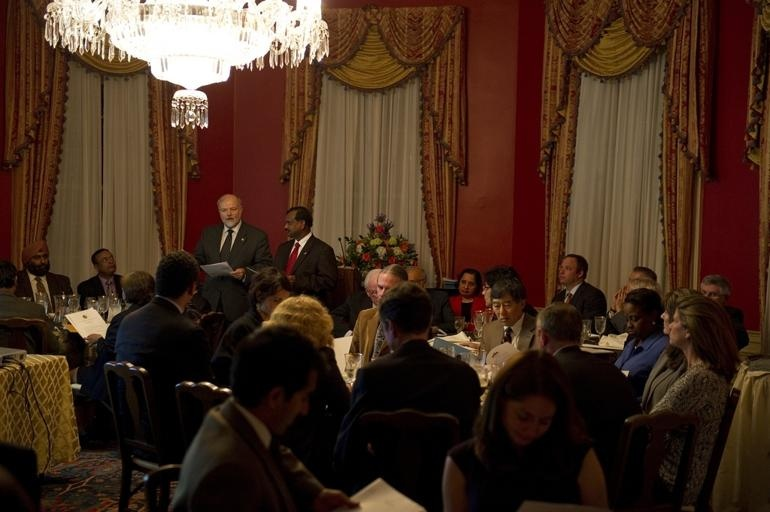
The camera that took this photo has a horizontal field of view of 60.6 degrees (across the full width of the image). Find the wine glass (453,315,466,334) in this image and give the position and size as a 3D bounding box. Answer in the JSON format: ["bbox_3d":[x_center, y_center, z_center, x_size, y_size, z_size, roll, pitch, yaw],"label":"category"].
[{"bbox_3d":[0.690,0.631,6.036,0.123,0.238,0.128,-2,-3,31],"label":"wine glass"}]

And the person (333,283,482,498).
[{"bbox_3d":[0.166,1.076,3.963,0.752,1.800,0.891,-1,2,9],"label":"person"}]

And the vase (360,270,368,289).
[{"bbox_3d":[-0.215,0.279,8.034,0.137,0.185,0.174,-1,10,4],"label":"vase"}]

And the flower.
[{"bbox_3d":[-0.014,-0.091,8.371,0.695,0.868,0.724,-1,0,21],"label":"flower"}]

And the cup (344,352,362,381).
[{"bbox_3d":[-0.227,0.786,4.648,0.144,0.268,0.161,4,-13,-1],"label":"cup"}]

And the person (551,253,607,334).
[{"bbox_3d":[1.918,0.352,6.382,0.479,1.025,0.479,12,-16,-29],"label":"person"}]

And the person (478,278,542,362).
[{"bbox_3d":[0.971,0.521,5.296,0.428,1.123,0.349,-4,-7,33],"label":"person"}]

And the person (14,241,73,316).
[{"bbox_3d":[-3.772,0.250,7.244,0.467,0.942,0.594,-6,-1,44],"label":"person"}]
